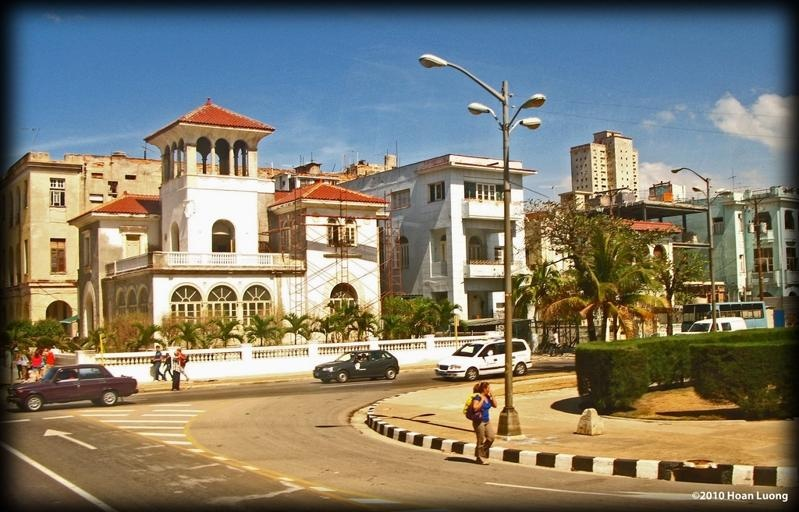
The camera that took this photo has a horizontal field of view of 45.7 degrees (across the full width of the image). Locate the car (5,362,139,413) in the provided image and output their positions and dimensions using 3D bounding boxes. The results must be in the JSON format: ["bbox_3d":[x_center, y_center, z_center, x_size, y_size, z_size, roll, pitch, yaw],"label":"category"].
[{"bbox_3d":[-15.273,6.200,44.666,6.481,1.884,2.488,1,-3,-28],"label":"car"}]

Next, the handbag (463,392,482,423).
[{"bbox_3d":[2.619,5.379,33.766,0.585,0.970,0.425,-3,-3,5],"label":"handbag"}]
